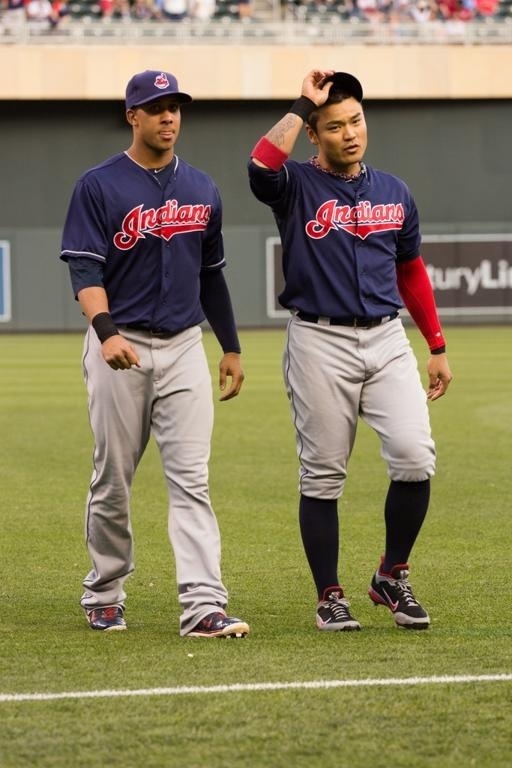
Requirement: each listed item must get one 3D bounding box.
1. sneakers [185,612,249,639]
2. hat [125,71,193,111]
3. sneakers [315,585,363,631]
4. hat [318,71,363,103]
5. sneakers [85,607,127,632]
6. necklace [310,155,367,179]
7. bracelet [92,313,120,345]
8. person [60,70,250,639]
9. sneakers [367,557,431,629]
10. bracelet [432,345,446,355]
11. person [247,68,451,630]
[{"bbox_3d":[-0.115,0.701,3.781,0.182,0.076,0.073,-4,-2,12],"label":"sneakers"},{"bbox_3d":[-0.300,-0.878,3.867,0.168,0.098,0.122,-4,5,41],"label":"hat"},{"bbox_3d":[0.249,0.688,3.951,0.135,0.120,0.141,0,8,2],"label":"sneakers"},{"bbox_3d":[0.280,-0.924,3.982,0.111,0.090,0.214,4,9,28],"label":"hat"},{"bbox_3d":[-0.460,0.718,3.945,0.056,0.059,0.131,0,-3,-28],"label":"sneakers"},{"bbox_3d":[0.246,-0.682,4.051,0.098,0.031,0.123,-1,9,-45],"label":"necklace"},{"bbox_3d":[-0.446,-0.167,3.707,0.059,0.086,0.119,-5,9,-31],"label":"bracelet"},{"bbox_3d":[-0.320,-0.105,3.957,0.559,1.738,0.635,-1,8,-3],"label":"person"},{"bbox_3d":[0.433,0.658,4.032,0.092,0.134,0.275,8,12,-30],"label":"sneakers"},{"bbox_3d":[0.607,-0.119,4.255,0.034,0.025,0.033,-19,-18,-10],"label":"bracelet"},{"bbox_3d":[0.303,-0.112,4.082,0.615,1.733,0.623,1,8,8],"label":"person"}]
